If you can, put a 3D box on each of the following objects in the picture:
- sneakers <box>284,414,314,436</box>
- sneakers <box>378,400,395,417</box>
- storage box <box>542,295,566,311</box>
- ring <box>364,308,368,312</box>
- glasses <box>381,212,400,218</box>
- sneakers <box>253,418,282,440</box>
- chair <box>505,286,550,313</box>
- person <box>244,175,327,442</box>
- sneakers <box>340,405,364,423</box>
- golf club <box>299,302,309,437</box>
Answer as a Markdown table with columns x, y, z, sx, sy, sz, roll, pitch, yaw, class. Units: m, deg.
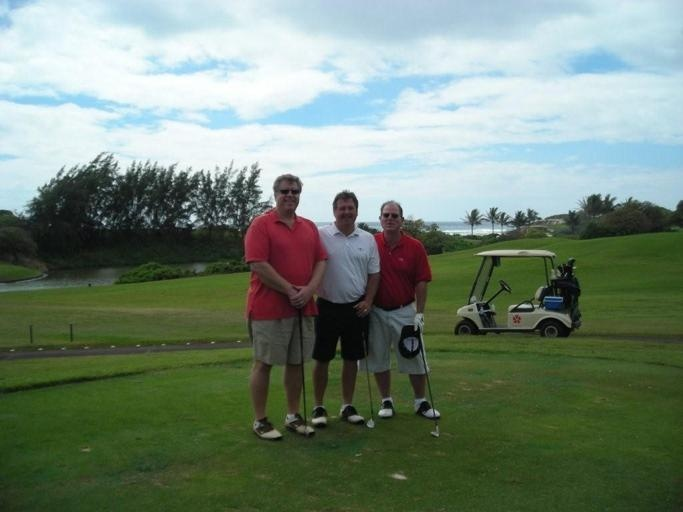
| x | y | z | sx | sy | sz | roll | pitch | yaw | class |
| --- | --- | --- | --- | --- | --- | --- | --- | --- | --- |
| -0.427 | 1.674 | 5.177 | 0.130 | 0.151 | 0.354 | 2 | -3 | -43 | sneakers |
| 0.506 | 1.679 | 5.761 | 0.183 | 0.159 | 0.308 | 2 | 3 | 6 | sneakers |
| 5.591 | 1.224 | 13.730 | 0.471 | 0.344 | 0.321 | 1 | -11 | 20 | storage box |
| 0.264 | 0.576 | 5.631 | 0.043 | 0.041 | 0.013 | 0 | 5 | -11 | ring |
| 0.569 | -0.459 | 5.829 | 0.188 | 0.059 | 0.048 | 2 | 3 | 4 | glasses |
| -0.709 | 1.653 | 4.984 | 0.130 | 0.132 | 0.333 | 3 | -6 | -39 | sneakers |
| 5.242 | 1.286 | 14.470 | 1.562 | 0.978 | 1.008 | -1 | -4 | 19 | chair |
| -0.559 | 0.439 | 5.233 | 0.823 | 2.535 | 0.640 | 0 | 4 | -22 | person |
| 0.124 | 1.683 | 5.550 | 0.194 | 0.154 | 0.320 | 0 | 3 | -23 | sneakers |
| -0.371 | 1.096 | 5.280 | 0.128 | 1.383 | 0.070 | -3 | -8 | 3 | golf club |
